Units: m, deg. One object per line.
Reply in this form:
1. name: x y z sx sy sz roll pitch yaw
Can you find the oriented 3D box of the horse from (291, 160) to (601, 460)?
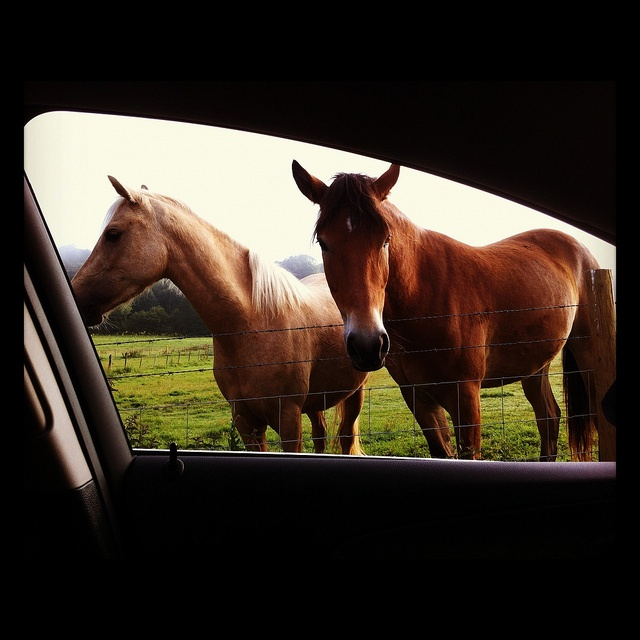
1. horse: 0.844 0.206 3.447 1.908 1.703 0.559 -1 -4 -35
